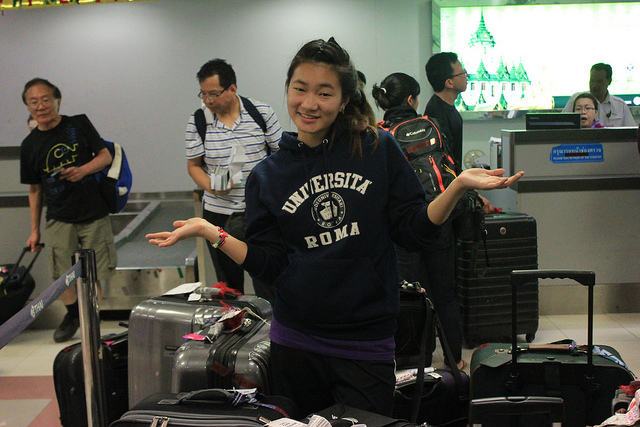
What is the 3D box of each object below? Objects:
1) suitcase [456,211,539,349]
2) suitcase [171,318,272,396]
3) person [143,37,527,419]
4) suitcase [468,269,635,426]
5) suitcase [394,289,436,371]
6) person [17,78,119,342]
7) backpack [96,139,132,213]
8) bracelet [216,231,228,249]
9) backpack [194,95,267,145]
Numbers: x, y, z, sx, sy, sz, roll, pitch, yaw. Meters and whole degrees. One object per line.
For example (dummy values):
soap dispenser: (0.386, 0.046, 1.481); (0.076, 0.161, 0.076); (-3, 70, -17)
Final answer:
suitcase: (1.785, 0.581, 5.174); (0.764, 1.065, 0.797); (0, -3, 21)
suitcase: (-0.577, 0.925, 3.307); (0.433, 0.293, 0.326); (-2, 12, 28)
person: (0.058, 0.079, 2.787); (1.154, 1.826, 0.593); (-6, 11, -9)
suitcase: (1.544, 0.922, 4.028); (0.967, 1.191, 0.505); (-1, 15, 8)
suitcase: (0.718, 0.868, 4.212); (0.394, 0.520, 0.343); (-8, -15, 28)
person: (-2.235, -0.269, 5.218); (0.862, 1.856, 0.394); (-8, 11, -18)
backpack: (-1.869, -0.338, 5.345); (0.212, 0.659, 0.276); (-3, 11, 8)
bracelet: (-0.483, 0.124, 2.889); (0.060, 0.065, 0.026); (3, -20, 10)
backpack: (-0.795, -0.778, 4.953); (0.519, 0.458, 0.364); (-28, 11, -21)
